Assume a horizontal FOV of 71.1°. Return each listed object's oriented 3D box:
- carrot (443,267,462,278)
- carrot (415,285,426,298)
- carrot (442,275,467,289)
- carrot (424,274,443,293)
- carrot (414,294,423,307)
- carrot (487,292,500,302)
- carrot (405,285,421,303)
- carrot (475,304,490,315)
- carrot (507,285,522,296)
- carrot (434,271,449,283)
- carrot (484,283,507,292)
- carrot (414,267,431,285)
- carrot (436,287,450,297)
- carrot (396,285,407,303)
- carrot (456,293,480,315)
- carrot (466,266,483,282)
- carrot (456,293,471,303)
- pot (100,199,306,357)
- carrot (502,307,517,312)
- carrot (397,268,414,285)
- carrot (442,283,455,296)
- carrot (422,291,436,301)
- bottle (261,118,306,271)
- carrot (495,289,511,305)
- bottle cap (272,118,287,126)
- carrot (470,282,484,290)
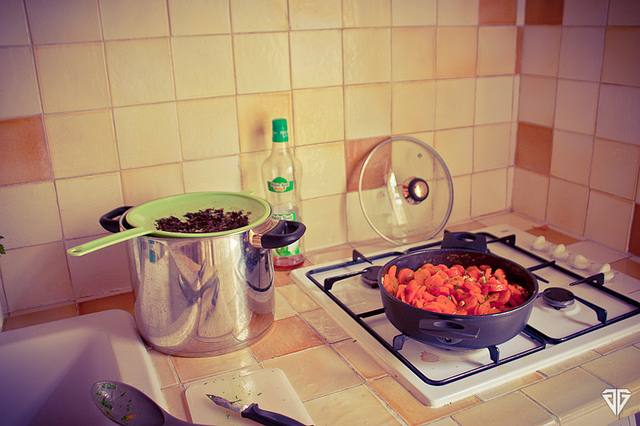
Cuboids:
[{"bbox_3d":[0.296,0.131,1.004,0.026,0.018,0.025,-12,15,-23],"label":"carrot"},{"bbox_3d":[0.207,0.161,0.928,0.014,0.007,0.043,49,36,19],"label":"carrot"},{"bbox_3d":[0.292,0.146,0.962,0.023,0.008,0.030,23,28,33],"label":"carrot"},{"bbox_3d":[0.240,0.148,0.956,0.037,0.012,0.035,7,23,25],"label":"carrot"},{"bbox_3d":[0.200,0.176,0.910,0.010,0.011,0.033,6,24,25],"label":"carrot"},{"bbox_3d":[0.357,0.174,0.928,0.011,0.006,0.039,32,44,29],"label":"carrot"},{"bbox_3d":[0.194,0.164,0.930,0.013,0.011,0.057,31,40,21],"label":"carrot"},{"bbox_3d":[0.318,0.188,0.888,0.022,0.013,0.026,6,24,25],"label":"carrot"},{"bbox_3d":[0.409,0.163,0.944,0.018,0.006,0.024,-5,30,-29],"label":"carrot"},{"bbox_3d":[0.267,0.139,0.979,0.020,0.013,0.019,16,-10,19],"label":"carrot"},{"bbox_3d":[0.367,0.155,0.940,0.024,0.005,0.024,8,15,38],"label":"carrot"},{"bbox_3d":[0.222,0.138,0.987,0.028,0.010,0.034,10,35,11],"label":"carrot"},{"bbox_3d":[0.255,0.162,0.933,0.027,0.013,0.024,0,22,12],"label":"carrot"},{"bbox_3d":[0.171,0.167,0.940,0.010,0.025,0.020,-4,-5,41],"label":"carrot"},{"bbox_3d":[0.298,0.181,0.899,0.038,0.010,0.038,-36,16,24],"label":"carrot"},{"bbox_3d":[0.348,0.134,1.014,0.030,0.011,0.025,13,7,-12],"label":"carrot"},{"bbox_3d":[0.299,0.172,0.925,0.021,0.014,0.020,-3,14,-5],"label":"carrot"},{"bbox_3d":[-0.293,0.145,1.151,0.480,0.336,0.374,-8,19,-17],"label":"pot"},{"bbox_3d":[0.374,0.190,0.888,0.019,0.005,0.020,-4,2,-12],"label":"carrot"},{"bbox_3d":[0.192,0.140,1.003,0.037,0.035,0.024,1,20,-1],"label":"carrot"},{"bbox_3d":[0.272,0.161,0.952,0.023,0.020,0.022,-4,10,-13],"label":"carrot"},{"bbox_3d":[0.223,0.169,0.922,0.027,0.011,0.031,0,22,12],"label":"carrot"},{"bbox_3d":[-0.098,-0.057,1.269,0.134,0.412,0.123,-2,15,0],"label":"bottle"},{"bbox_3d":[0.377,0.170,0.928,0.031,0.005,0.026,-37,7,49],"label":"carrot"},{"bbox_3d":[-0.110,-0.239,1.178,0.037,0.015,0.029,-4,22,1],"label":"bottle cap"},{"bbox_3d":[0.340,0.154,0.955,0.017,0.011,0.016,1,8,16],"label":"carrot"}]
